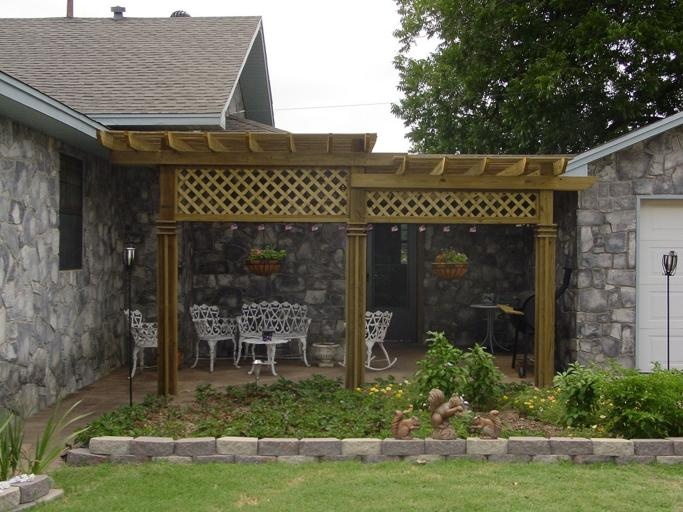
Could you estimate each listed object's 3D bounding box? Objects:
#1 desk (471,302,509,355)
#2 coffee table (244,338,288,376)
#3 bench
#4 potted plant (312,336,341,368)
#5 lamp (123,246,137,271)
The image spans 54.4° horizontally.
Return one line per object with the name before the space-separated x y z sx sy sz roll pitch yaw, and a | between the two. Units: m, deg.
desk | 3.159 1.415 13.198 1.011 0.977 0.975 -1 -7 5
coffee table | -1.181 1.623 10.930 0.696 0.487 0.690 -1 -5 23
bench | -1.150 1.178 11.935 1.776 1.369 1.018 1 -7 -5
potted plant | -0.268 1.734 11.717 0.416 0.381 0.530 2 13 10
lamp | -2.795 0.038 8.833 0.118 0.345 0.471 -6 14 -21
